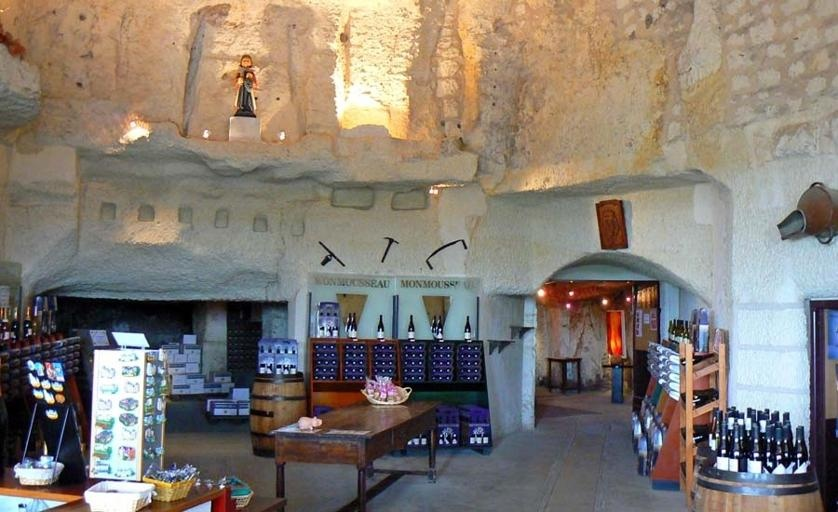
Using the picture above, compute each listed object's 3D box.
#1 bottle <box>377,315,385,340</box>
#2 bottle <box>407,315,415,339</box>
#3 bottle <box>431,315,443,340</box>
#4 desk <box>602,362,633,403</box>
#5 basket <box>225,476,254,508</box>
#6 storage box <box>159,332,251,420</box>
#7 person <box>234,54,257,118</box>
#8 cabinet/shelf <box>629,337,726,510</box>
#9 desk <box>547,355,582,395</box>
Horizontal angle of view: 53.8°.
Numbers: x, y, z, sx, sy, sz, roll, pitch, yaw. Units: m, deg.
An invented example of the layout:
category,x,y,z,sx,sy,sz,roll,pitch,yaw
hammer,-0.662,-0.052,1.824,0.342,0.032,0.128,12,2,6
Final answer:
category,x,y,z,sx,sy,sz,roll,pitch,yaw
bottle,-0.546,1.021,11.964,0.122,0.346,0.360,1,0,-3
bottle,-0.103,1.032,12.119,0.122,0.352,0.212,1,0,2
bottle,0.281,1.031,12.147,0.186,0.361,0.165,1,0,1
desk,4.231,2.667,17.466,0.788,0.971,0.418,-1,-5,2
basket,-1.671,2.199,7.728,0.242,0.107,0.323,7,-4,-4
storage box,-3.092,2.104,13.659,2.173,1.303,1.542,2,-2,-15
person,-2.305,-2.266,11.017,0.256,0.829,0.484,1,0,-13
cabinet/shelf,3.038,1.970,9.608,0.656,1.447,1.830,0,-4,6
desk,3.259,2.638,18.402,0.920,0.826,0.945,-5,-15,25
